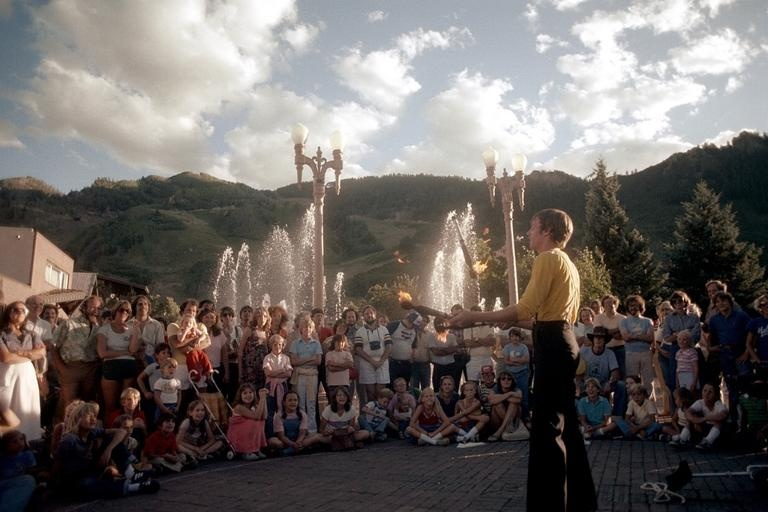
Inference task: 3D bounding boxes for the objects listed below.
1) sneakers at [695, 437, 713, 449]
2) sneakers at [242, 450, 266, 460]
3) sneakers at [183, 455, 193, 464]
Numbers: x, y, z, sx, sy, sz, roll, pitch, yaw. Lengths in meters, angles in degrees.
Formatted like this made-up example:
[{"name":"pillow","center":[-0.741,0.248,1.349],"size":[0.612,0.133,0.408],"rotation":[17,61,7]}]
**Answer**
[{"name":"sneakers","center":[5.847,3.418,10.518],"size":[0.152,0.172,0.430],"rotation":[1,-15,29]},{"name":"sneakers","center":[-2.454,3.786,10.960],"size":[0.461,0.196,0.156],"rotation":[-4,-1,14]},{"name":"sneakers","center":[-3.527,3.681,10.432],"size":[0.076,0.141,0.192],"rotation":[1,-1,29]}]
